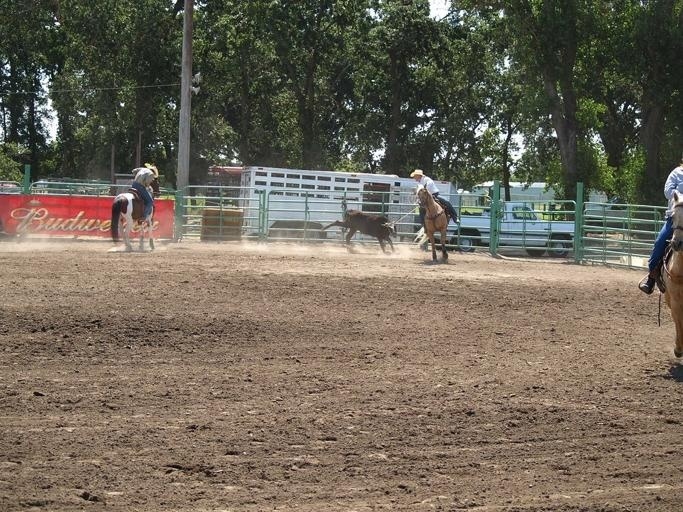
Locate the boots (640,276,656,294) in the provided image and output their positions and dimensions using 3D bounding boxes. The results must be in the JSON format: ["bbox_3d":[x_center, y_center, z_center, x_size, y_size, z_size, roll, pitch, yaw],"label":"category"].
[{"bbox_3d":[9.063,0.775,37.637,0.277,0.309,0.762,13,18,24],"label":"boots"}]

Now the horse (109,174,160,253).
[{"bbox_3d":[-7.814,-1.786,48.246,0.967,2.873,3.938,6,13,13],"label":"horse"}]

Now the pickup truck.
[{"bbox_3d":[7.114,-1.133,53.570,4.932,1.994,2.352,0,2,-5],"label":"pickup truck"}]
